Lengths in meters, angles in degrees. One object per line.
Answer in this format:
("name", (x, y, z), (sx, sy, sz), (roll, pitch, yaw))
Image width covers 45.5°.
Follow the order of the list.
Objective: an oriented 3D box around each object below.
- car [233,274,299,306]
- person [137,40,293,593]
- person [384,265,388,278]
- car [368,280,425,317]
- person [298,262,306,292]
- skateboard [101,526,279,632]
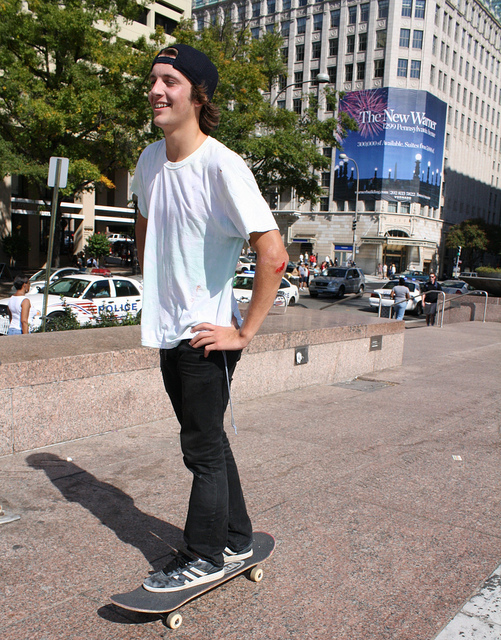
("car", (0.383, -0.968, 20.276), (1.249, 0.888, 2.827), (4, 1, 16))
("person", (-0.174, -0.001, 2.253), (0.514, 1.940, 0.530), (2, 5, -11))
("person", (11.901, -4.170, 53.089), (0.304, 0.955, 1.584), (4, 5, 11))
("car", (5.823, -0.844, 23.753), (1.599, 1.108, 3.458), (1, 2, 34))
("person", (2.983, -2.330, 34.814), (0.478, 1.354, 0.860), (3, 5, 3))
("skateboard", (-0.138, 1.031, 2.372), (0.259, 0.168, 1.006), (10, 0, 33))
